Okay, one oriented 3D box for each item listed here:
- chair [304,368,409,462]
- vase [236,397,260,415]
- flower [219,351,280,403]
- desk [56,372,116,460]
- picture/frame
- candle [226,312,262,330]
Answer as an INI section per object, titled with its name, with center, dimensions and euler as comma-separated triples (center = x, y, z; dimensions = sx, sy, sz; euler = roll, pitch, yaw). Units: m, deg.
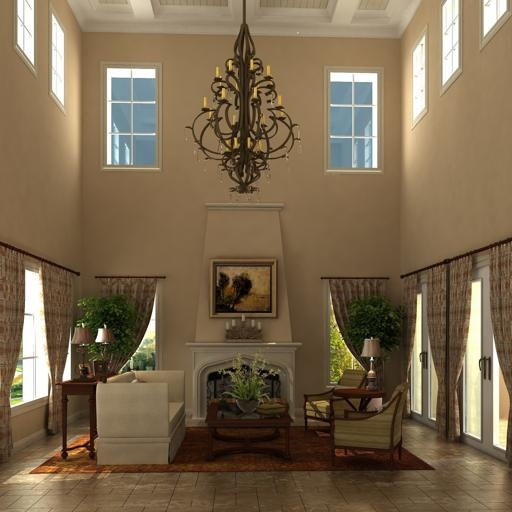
[chair]
center = 1.186, 2.186, 6.280
dimensions = 1.604, 1.235, 1.025
euler = 0, -7, 15
[vase]
center = -0.116, 2.058, 6.363
dimensions = 0.314, 0.203, 0.207
euler = 0, -9, 2
[flower]
center = -0.137, 1.823, 6.637
dimensions = 0.706, 0.547, 0.781
euler = 13, -22, -16
[desk]
center = -2.507, 2.287, 6.830
dimensions = 0.443, 1.128, 1.151
euler = -1, -7, -8
[picture/frame]
center = -0.314, 0.705, 9.779
dimensions = 0.990, 1.017, 0.086
euler = 0, -4, -1
[candle]
center = -0.254, 1.336, 9.526
dimensions = 0.767, 0.325, 0.383
euler = 1, -9, -4
